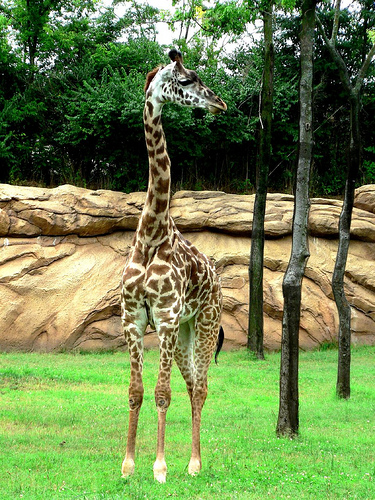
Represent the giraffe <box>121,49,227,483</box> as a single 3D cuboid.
[{"bbox_3d":[-0.170,0.126,6.117,0.887,4.183,1.501,2,2,18],"label":"giraffe"}]
